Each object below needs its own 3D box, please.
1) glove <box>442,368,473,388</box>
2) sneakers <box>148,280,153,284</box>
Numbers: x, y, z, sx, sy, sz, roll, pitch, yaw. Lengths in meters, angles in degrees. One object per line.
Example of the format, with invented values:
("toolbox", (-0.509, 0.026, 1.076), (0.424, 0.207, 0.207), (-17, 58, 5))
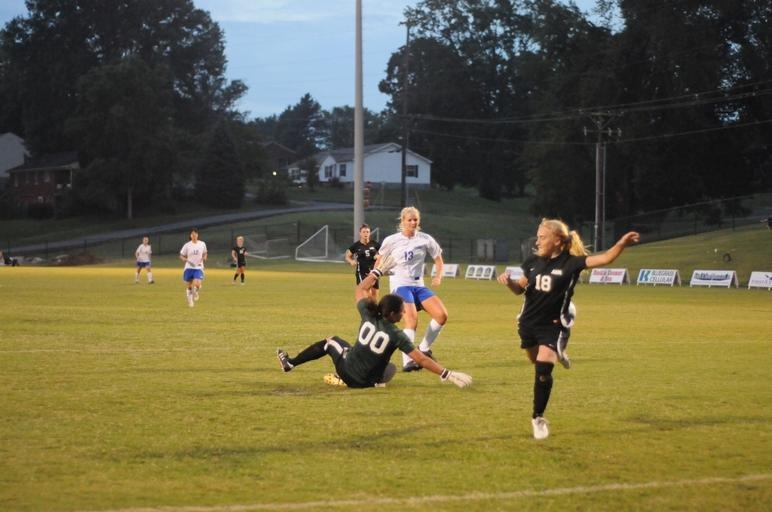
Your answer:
("glove", (1.982, 3.329, 28.479), (0.859, 0.480, 0.292), (8, 10, 15))
("sneakers", (-11.652, 1.270, 51.135), (0.294, 0.235, 0.173), (0, 3, 26))
